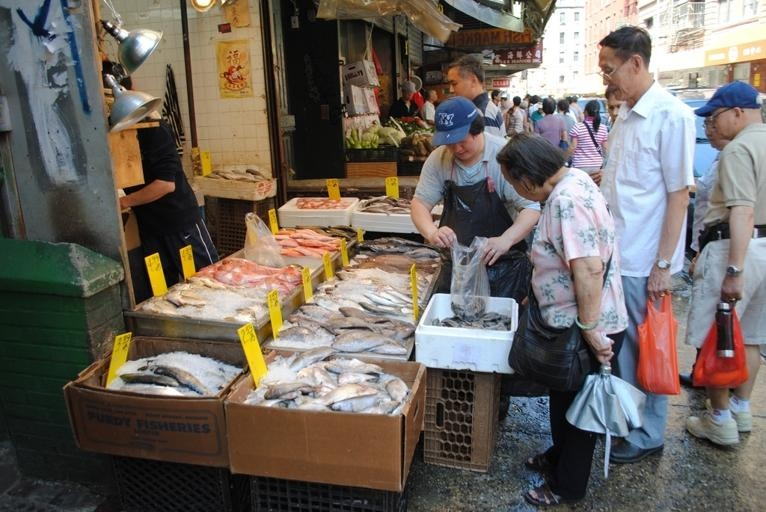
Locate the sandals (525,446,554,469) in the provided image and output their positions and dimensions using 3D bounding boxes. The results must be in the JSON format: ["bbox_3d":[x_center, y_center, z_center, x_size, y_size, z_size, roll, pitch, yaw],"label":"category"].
[{"bbox_3d":[1.153,1.550,4.039,0.262,0.108,0.111,3,11,16],"label":"sandals"}]

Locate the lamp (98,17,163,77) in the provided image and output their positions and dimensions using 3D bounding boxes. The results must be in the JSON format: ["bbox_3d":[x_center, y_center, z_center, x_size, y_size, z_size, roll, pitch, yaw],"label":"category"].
[{"bbox_3d":[-1.770,-1.491,3.813,0.362,0.355,0.333,-2,17,6],"label":"lamp"}]

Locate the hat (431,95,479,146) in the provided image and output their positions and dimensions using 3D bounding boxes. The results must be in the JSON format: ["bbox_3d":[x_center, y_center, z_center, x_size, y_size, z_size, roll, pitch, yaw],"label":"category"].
[{"bbox_3d":[0.534,-1.083,4.099,0.322,0.223,0.470,11,58,34],"label":"hat"}]

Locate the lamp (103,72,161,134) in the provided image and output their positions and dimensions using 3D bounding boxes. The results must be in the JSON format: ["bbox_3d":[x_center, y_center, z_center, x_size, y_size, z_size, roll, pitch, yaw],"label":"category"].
[{"bbox_3d":[-1.734,-1.056,3.664,0.277,0.380,0.353,-3,17,1],"label":"lamp"}]

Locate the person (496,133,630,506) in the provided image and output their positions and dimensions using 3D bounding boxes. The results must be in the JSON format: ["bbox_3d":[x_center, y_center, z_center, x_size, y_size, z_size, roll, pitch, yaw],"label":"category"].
[{"bbox_3d":[1.225,0.485,3.566,0.816,2.536,0.583,1,17,14],"label":"person"}]

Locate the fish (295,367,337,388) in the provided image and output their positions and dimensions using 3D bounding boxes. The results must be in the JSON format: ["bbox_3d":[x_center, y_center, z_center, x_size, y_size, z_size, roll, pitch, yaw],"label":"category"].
[{"bbox_3d":[-0.435,0.789,3.464,0.188,0.059,0.130,5,8,38],"label":"fish"}]

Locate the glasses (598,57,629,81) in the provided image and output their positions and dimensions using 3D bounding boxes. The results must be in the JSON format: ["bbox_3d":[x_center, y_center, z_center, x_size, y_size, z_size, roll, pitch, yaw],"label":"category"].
[{"bbox_3d":[1.608,-1.308,3.760,0.094,0.113,0.182,-13,19,-29],"label":"glasses"}]

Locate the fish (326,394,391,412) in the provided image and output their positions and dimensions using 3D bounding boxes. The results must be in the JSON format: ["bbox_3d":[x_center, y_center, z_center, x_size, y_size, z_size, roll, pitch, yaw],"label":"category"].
[{"bbox_3d":[-0.151,0.910,3.266,0.384,0.132,0.115,3,50,-4],"label":"fish"}]

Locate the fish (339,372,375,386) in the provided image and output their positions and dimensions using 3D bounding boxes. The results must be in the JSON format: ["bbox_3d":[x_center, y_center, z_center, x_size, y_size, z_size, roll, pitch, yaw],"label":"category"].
[{"bbox_3d":[-0.174,0.822,3.494,0.145,0.038,0.094,10,21,2],"label":"fish"}]

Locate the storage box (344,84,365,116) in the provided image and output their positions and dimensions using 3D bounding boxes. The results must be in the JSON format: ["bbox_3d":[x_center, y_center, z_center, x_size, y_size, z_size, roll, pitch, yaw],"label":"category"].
[{"bbox_3d":[-0.458,-2.551,8.678,0.132,0.486,0.545,0,6,32],"label":"storage box"}]

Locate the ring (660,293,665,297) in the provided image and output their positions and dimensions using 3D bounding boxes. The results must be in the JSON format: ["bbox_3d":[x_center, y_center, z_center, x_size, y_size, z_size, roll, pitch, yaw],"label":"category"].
[{"bbox_3d":[1.986,0.289,3.791,0.035,0.035,0.013,12,23,42],"label":"ring"}]

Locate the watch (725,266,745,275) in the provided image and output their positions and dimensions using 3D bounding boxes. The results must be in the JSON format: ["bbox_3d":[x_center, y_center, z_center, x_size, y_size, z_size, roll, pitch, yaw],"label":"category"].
[{"bbox_3d":[2.569,0.121,3.895,0.071,0.050,0.087,-2,1,42],"label":"watch"}]

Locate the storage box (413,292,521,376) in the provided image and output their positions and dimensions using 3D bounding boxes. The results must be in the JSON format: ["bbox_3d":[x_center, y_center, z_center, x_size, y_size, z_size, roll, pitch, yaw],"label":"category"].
[{"bbox_3d":[0.567,0.592,3.777,0.612,0.235,0.600,2,19,10],"label":"storage box"}]

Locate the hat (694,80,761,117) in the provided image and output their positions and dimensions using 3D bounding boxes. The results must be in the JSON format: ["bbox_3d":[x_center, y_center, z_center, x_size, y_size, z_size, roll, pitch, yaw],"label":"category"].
[{"bbox_3d":[2.704,-1.221,4.249,0.494,0.271,0.319,15,33,38],"label":"hat"}]

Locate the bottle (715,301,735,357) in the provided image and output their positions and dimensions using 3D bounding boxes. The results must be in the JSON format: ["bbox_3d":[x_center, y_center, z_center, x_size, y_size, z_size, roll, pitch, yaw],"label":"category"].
[{"bbox_3d":[2.548,0.572,3.955,0.124,0.407,0.157,3,18,21],"label":"bottle"}]

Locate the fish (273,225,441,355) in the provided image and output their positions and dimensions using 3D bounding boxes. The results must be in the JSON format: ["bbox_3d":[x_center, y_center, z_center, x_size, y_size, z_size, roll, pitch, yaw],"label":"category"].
[{"bbox_3d":[-0.113,0.281,4.486,1.042,0.592,1.865,1,17,13],"label":"fish"}]

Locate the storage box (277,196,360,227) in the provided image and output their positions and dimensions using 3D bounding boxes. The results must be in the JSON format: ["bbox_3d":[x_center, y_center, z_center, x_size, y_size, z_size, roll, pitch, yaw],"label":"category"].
[{"bbox_3d":[-0.773,-0.470,6.173,0.956,0.276,0.789,-3,16,0],"label":"storage box"}]

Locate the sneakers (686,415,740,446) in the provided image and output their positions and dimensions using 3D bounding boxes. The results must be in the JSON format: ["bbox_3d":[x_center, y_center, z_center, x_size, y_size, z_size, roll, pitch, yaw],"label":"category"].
[{"bbox_3d":[2.663,1.400,4.341,0.187,0.225,0.467,-8,-1,-16],"label":"sneakers"}]

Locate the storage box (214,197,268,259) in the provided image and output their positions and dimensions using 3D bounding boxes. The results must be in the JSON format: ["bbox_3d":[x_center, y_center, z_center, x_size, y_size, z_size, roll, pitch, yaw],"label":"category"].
[{"bbox_3d":[-1.622,-0.342,6.098,0.542,0.980,0.541,7,14,17],"label":"storage box"}]

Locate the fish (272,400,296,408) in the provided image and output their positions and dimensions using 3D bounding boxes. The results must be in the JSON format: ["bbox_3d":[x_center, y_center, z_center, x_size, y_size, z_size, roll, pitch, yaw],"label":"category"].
[{"bbox_3d":[-0.609,0.918,3.239,0.076,0.026,0.059,0,-2,7],"label":"fish"}]

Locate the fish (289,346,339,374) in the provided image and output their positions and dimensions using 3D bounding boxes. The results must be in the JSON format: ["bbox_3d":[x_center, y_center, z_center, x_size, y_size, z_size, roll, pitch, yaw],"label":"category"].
[{"bbox_3d":[-0.497,0.715,3.638,0.219,0.051,0.143,-23,10,2],"label":"fish"}]

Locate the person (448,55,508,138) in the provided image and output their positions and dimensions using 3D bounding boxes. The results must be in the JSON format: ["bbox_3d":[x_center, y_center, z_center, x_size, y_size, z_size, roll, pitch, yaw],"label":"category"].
[{"bbox_3d":[1.029,-1.610,5.704,0.502,1.005,0.587,-29,31,-36],"label":"person"}]

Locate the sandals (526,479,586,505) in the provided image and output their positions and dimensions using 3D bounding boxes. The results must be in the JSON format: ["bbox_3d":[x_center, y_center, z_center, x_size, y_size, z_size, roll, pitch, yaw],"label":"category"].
[{"bbox_3d":[1.227,1.699,3.775,0.413,0.143,0.162,2,7,3],"label":"sandals"}]

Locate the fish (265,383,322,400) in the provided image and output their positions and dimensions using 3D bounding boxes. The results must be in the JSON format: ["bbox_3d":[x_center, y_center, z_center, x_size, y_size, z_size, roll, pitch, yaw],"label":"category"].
[{"bbox_3d":[-0.583,0.858,3.333,0.225,0.071,0.136,4,5,-12],"label":"fish"}]

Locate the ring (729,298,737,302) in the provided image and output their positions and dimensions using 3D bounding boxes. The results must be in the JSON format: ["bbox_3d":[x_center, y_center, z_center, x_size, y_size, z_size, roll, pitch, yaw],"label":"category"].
[{"bbox_3d":[2.599,0.341,3.948,0.028,0.021,0.029,-2,6,0],"label":"ring"}]

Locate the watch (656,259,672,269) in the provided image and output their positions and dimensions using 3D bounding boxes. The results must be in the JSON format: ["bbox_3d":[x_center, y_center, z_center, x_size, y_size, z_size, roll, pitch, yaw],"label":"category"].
[{"bbox_3d":[1.981,0.069,3.766,0.090,0.058,0.086,33,24,36],"label":"watch"}]

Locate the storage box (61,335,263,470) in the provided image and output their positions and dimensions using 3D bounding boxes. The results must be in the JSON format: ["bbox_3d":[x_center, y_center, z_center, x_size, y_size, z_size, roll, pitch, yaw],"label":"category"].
[{"bbox_3d":[-1.425,1.044,3.536,1.174,0.512,0.818,3,21,7],"label":"storage box"}]
